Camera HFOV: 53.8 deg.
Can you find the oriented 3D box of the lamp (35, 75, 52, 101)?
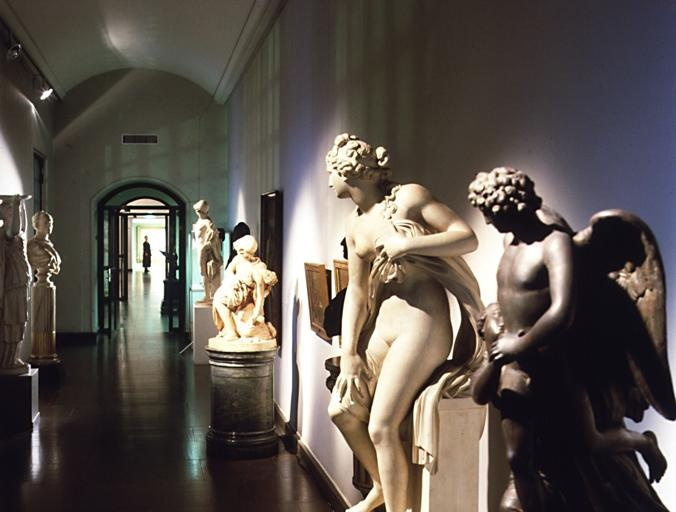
[{"bbox_3d":[-5.020,-2.833,11.337,0.235,0.430,0.746,1,2,-14],"label":"lamp"}]
